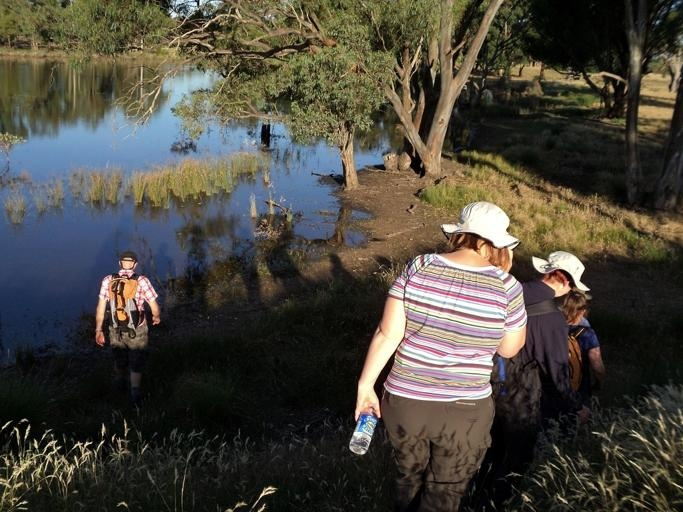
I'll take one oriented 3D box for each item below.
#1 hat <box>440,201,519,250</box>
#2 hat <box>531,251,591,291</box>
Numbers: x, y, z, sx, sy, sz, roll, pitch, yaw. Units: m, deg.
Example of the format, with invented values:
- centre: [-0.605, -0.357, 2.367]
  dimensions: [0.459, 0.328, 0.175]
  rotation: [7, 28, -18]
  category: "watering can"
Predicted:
- centre: [1.643, -0.378, 7.134]
  dimensions: [0.546, 0.343, 0.631]
  rotation: [-3, 21, -13]
  category: "hat"
- centre: [3.101, 0.334, 8.607]
  dimensions: [0.618, 0.302, 0.659]
  rotation: [3, 21, -34]
  category: "hat"
